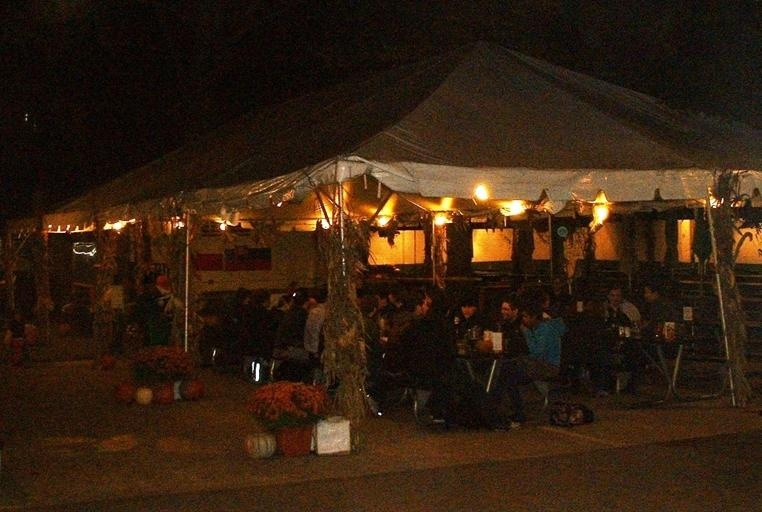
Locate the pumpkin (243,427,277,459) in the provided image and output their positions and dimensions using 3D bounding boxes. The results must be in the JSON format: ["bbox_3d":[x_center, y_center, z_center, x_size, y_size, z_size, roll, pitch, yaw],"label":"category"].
[{"bbox_3d":[-1.539,2.402,9.483,0.320,0.215,0.329,2,-4,18],"label":"pumpkin"}]

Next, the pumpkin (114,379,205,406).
[{"bbox_3d":[-3.652,2.270,12.419,1.841,0.490,0.489,-1,-3,-6],"label":"pumpkin"}]

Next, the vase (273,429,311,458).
[{"bbox_3d":[-1.094,2.373,9.499,0.406,0.280,0.388,2,-7,-16],"label":"vase"}]

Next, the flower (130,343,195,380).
[{"bbox_3d":[-4.044,1.969,13.654,0.932,0.358,0.727,-1,7,6],"label":"flower"}]

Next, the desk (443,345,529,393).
[{"bbox_3d":[1.548,1.687,10.944,0.833,0.332,1.045,1,0,14],"label":"desk"}]
